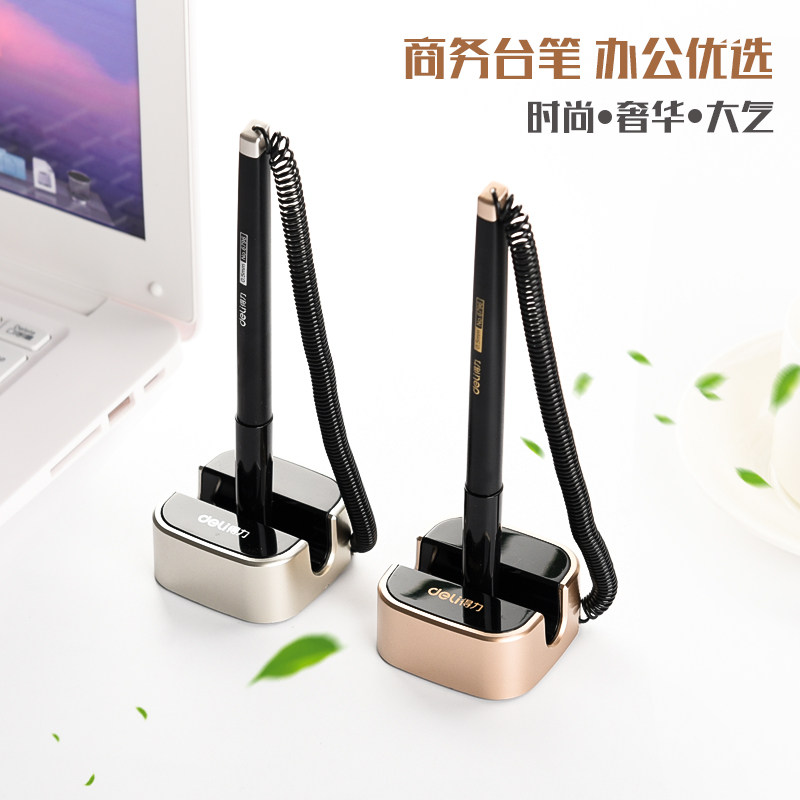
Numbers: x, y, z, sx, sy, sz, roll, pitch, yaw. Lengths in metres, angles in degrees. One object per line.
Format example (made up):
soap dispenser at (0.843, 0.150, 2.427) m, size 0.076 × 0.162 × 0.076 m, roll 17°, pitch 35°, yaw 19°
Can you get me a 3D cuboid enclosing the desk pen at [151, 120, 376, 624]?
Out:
desk pen at (-0.057, -0.009, 0.341) m, size 0.083 × 0.203 × 0.079 m, roll 18°, pitch 24°, yaw 39°
